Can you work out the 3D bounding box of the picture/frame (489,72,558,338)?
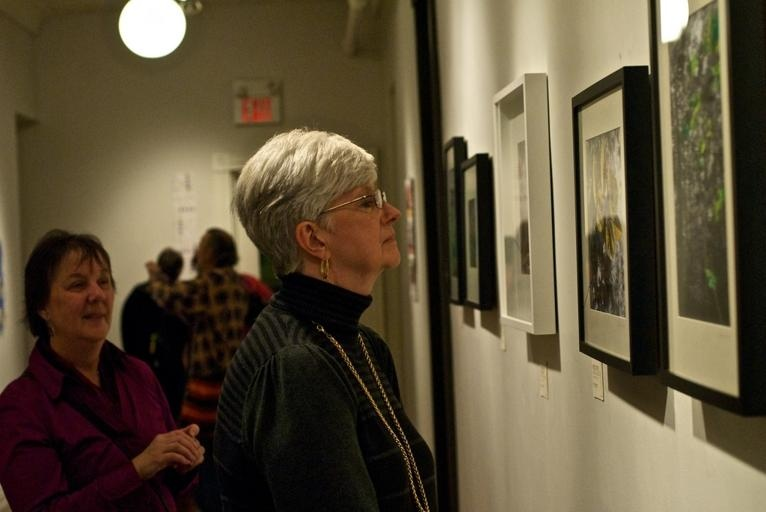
[{"bbox_3d":[0.323,-0.119,1.581,0.083,0.585,0.238,-1,2,-17],"label":"picture/frame"}]
